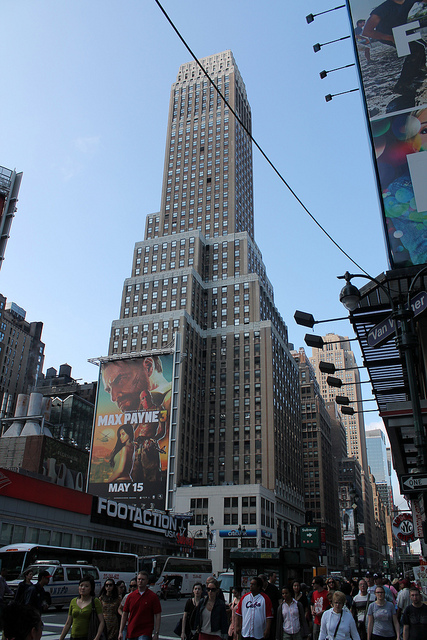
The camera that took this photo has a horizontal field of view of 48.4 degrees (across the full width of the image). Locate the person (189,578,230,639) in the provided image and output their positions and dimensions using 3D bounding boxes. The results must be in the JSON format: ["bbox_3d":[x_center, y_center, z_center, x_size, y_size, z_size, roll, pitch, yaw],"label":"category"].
[{"bbox_3d":[-0.088,5.186,8.524,0.698,0.922,0.891,2,-26,-2],"label":"person"}]

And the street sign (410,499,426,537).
[{"bbox_3d":[5.353,5.139,12.424,0.295,0.973,1.939,-8,-28,19],"label":"street sign"}]

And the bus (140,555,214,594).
[{"bbox_3d":[-3.250,25.258,46.420,2.420,3.855,8.757,-26,-38,28],"label":"bus"}]

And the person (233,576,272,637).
[{"bbox_3d":[0.734,5.508,9.069,0.662,1.046,1.363,0,-26,3],"label":"person"}]
